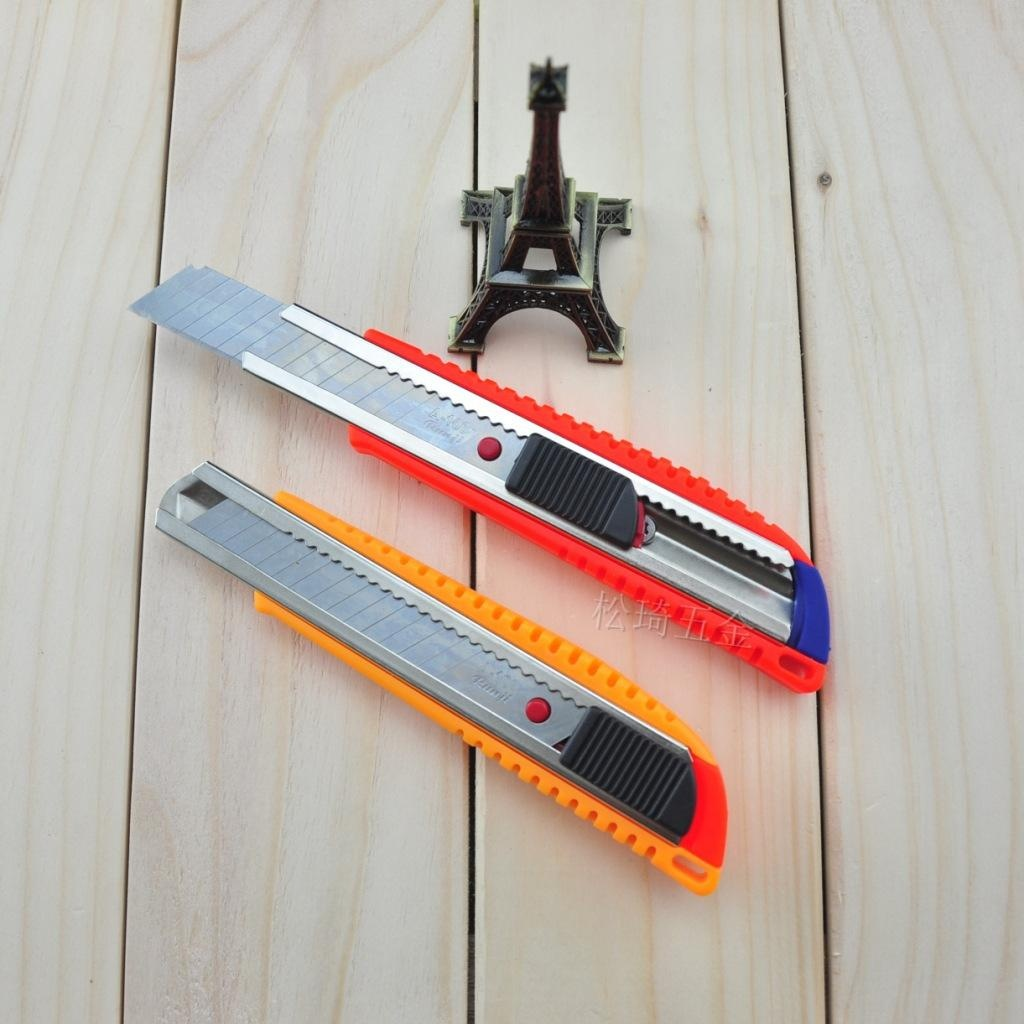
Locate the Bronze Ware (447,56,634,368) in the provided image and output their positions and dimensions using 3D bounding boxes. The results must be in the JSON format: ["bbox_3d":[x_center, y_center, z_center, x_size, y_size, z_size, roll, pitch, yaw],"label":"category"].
[{"bbox_3d":[0.035,-0.291,1.771,0.159,0.272,0.167,1,8,-8],"label":"Bronze Ware"}]
